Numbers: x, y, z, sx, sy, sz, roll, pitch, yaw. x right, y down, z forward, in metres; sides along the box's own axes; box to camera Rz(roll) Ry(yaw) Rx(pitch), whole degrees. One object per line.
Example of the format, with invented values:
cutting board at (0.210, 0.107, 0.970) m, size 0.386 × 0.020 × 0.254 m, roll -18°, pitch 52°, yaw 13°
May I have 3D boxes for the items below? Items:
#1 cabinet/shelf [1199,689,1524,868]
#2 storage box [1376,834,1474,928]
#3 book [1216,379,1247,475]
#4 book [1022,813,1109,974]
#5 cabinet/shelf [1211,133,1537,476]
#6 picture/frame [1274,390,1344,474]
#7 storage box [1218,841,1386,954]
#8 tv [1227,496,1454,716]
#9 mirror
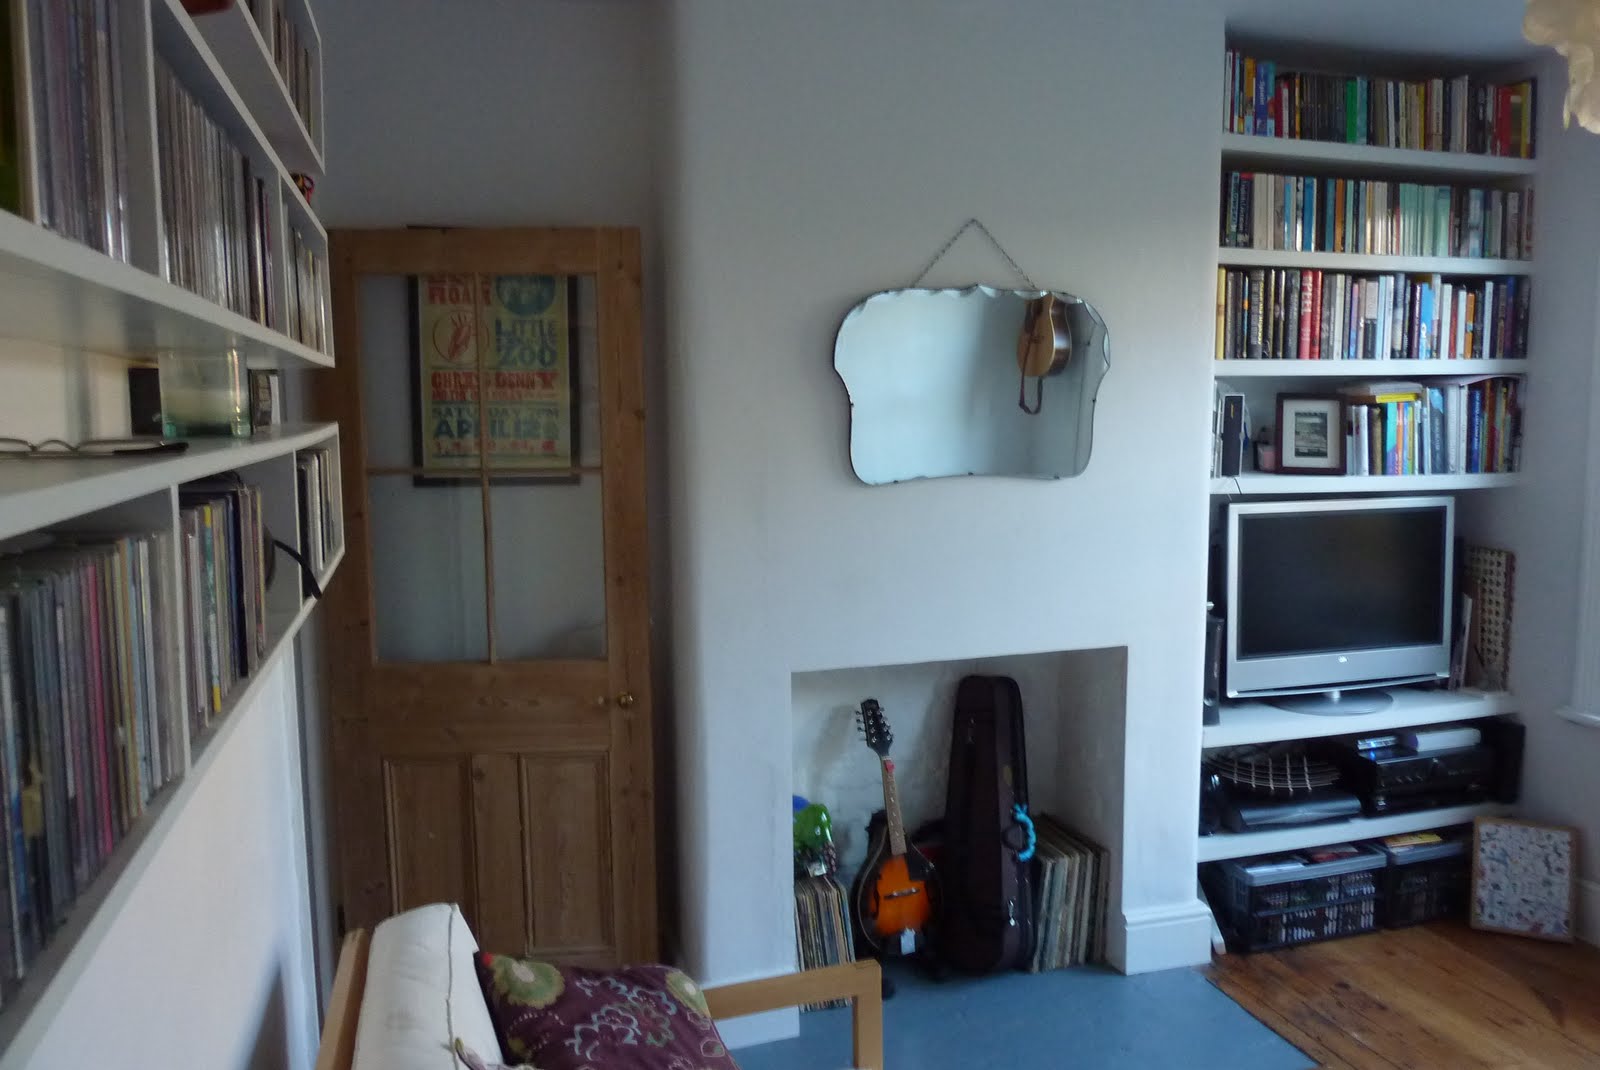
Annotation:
cabinet/shelf at (1.900, 0.841, 4.535) m, size 1.468 × 0.481 × 0.470 m, roll -2°, pitch -1°, yaw -12°
storage box at (2.209, 1.237, 4.362) m, size 0.315 × 0.233 × 0.172 m, roll -1°, pitch 6°, yaw -10°
book at (1.481, -0.361, 4.223) m, size 0.099 × 0.289 × 0.307 m, roll -1°, pitch 9°, yaw 10°
book at (0.901, 1.249, 4.189) m, size 0.271 × 0.408 × 0.217 m, roll -1°, pitch 2°, yaw -2°
cabinet/shelf at (1.983, -0.829, 4.261) m, size 1.181 × 1.023 × 0.384 m, roll 2°, pitch 1°, yaw -10°
picture/frame at (1.797, -0.355, 4.315) m, size 0.294 × 0.379 × 0.039 m, roll 0°, pitch -1°, yaw 9°
storage box at (1.757, 1.258, 4.241) m, size 0.491 × 0.257 × 0.348 m, roll -3°, pitch 1°, yaw -14°
tv at (1.885, 0.230, 4.325) m, size 0.768 × 0.598 × 0.078 m, roll -1°, pitch -1°, yaw -13°
mirror at (0.485, -0.485, 3.768) m, size 0.634 × 0.454 × 0.049 m, roll -3°, pitch 18°, yaw -10°
